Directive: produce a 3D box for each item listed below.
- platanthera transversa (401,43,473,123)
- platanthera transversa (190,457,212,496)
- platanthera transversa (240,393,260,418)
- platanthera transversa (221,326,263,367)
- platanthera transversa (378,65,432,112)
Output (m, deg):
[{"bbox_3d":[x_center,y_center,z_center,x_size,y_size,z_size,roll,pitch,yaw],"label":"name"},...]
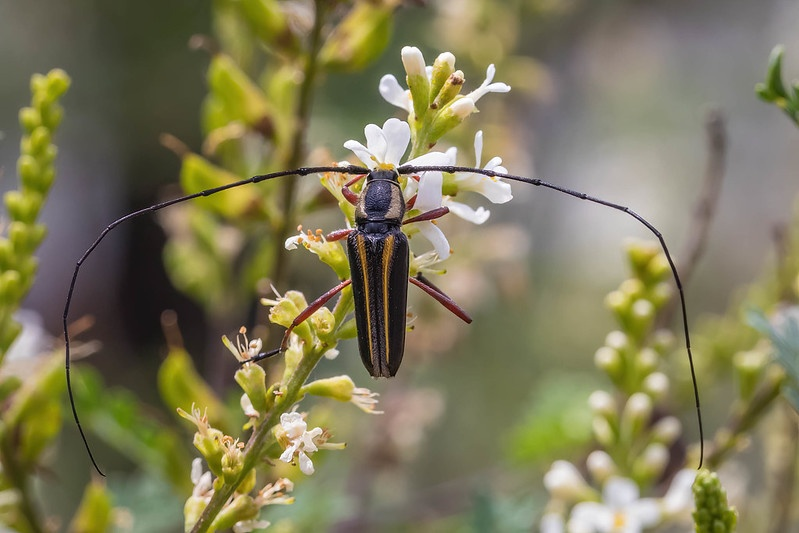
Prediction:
[{"bbox_3d":[0.110,-0.648,2.976,0.167,0.125,0.218,-10,-56,8],"label":"platanthera transversa"},{"bbox_3d":[-0.699,0.749,3.047,0.095,0.050,0.149,-2,-78,-18],"label":"platanthera transversa"},{"bbox_3d":[-0.511,0.482,2.985,0.072,0.032,0.096,-12,-85,36],"label":"platanthera transversa"},{"bbox_3d":[-0.543,0.278,3.027,0.162,0.158,0.112,1,-89,-40],"label":"platanthera transversa"},{"bbox_3d":[-0.011,-0.624,3.140,0.164,0.057,0.166,-36,-101,-12],"label":"platanthera transversa"}]
